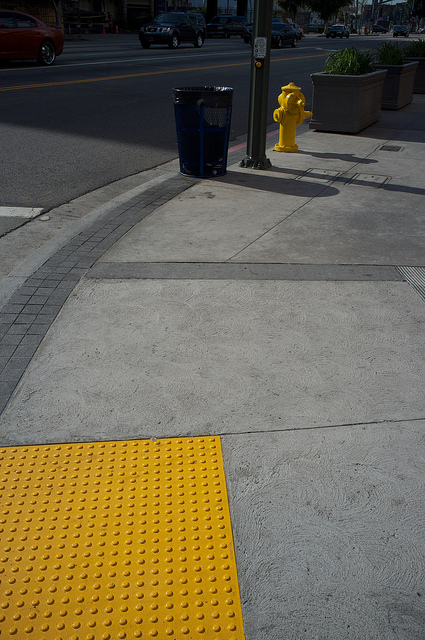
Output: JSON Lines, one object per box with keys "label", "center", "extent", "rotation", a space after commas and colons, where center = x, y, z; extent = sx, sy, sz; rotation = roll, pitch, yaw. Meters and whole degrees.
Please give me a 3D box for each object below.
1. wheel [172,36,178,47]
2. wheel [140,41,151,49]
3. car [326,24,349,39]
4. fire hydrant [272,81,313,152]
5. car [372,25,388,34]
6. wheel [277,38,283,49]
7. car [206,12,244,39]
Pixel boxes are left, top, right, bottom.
{"label": "wheel", "center": [-2.799, -20.374, 34.095], "extent": [0.211, 0.681, 0.666], "rotation": [21, 15, 18]}
{"label": "wheel", "center": [-4.881, -19.934, 33.989], "extent": [0.554, 0.345, 0.912], "rotation": [-3, 31, -9]}
{"label": "car", "center": [19.627, -45.562, 73.849], "extent": [2.724, 1.813, 4.988], "rotation": [12, 32, 16]}
{"label": "fire hydrant", "center": [1.413, -3.691, 8.487], "extent": [0.681, 1.257, 0.854], "rotation": [12, 27, 13]}
{"label": "car", "center": [40.893, -71.718, 115.291], "extent": [2.521, 1.406, 5.610], "rotation": [16, 33, 22]}
{"label": "wheel", "center": [6.108, -25.222, 42.520], "extent": [0.395, 0.744, 1.154], "rotation": [7, 31, 10]}
{"label": "car", "center": [1.282, -33.214, 52.908], "extent": [3.896, 2.234, 2.393], "rotation": [-2, 30, -7]}
